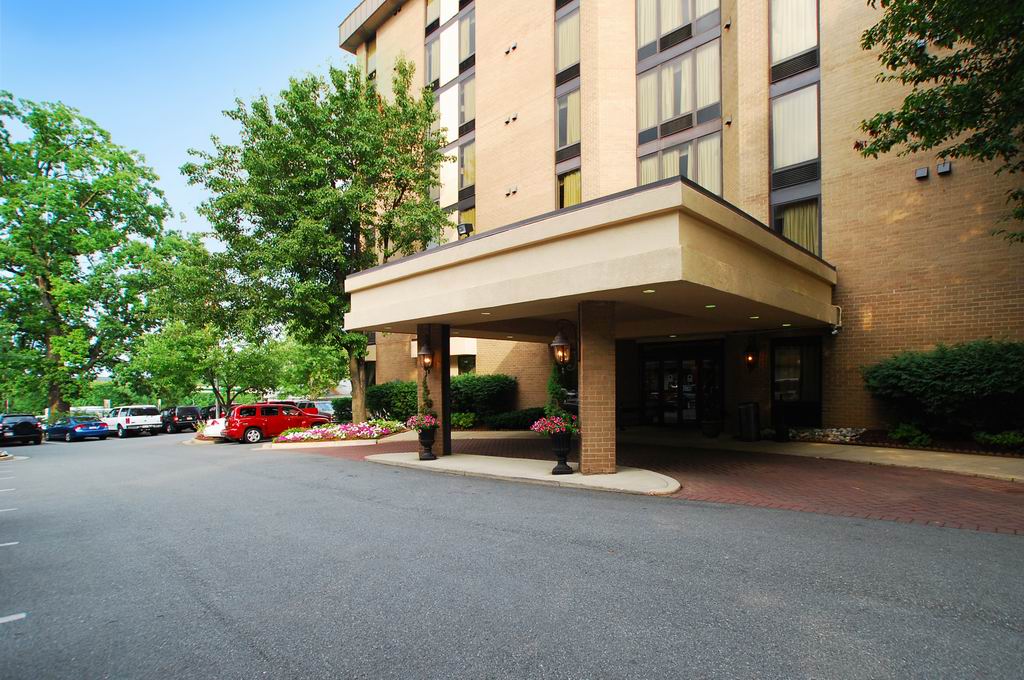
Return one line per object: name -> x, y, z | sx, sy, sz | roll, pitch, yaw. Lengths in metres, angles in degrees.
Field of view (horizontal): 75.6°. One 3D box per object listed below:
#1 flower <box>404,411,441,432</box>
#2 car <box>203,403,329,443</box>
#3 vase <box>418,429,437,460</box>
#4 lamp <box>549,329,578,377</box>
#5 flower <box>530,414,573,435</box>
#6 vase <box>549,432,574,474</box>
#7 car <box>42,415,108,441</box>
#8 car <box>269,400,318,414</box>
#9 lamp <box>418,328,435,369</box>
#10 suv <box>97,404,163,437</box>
flower -> -2.828, 2.550, 20.980 | 0.952, 0.608, 0.907 | 2, -5, -9
car -> -11.590, 3.749, 30.540 | 5.005, 1.680, 1.748 | -2, 2, -9
vase -> -2.659, 3.177, 20.820 | 0.513, 1.027, 0.892 | -2, 2, -4
lamp -> 1.561, 0.396, 19.502 | 0.680, 1.382, 1.724 | -2, 2, 5
flower -> 1.179, 2.321, 18.315 | 1.073, 0.504, 0.760 | -2, 1, 7
vase -> 1.369, 3.163, 18.266 | 0.976, 1.274, 0.965 | 0, -16, 1
car -> -24.396, 4.945, 36.999 | 3.480, 0.969, 1.747 | -1, 2, 35
car -> -11.482, 3.457, 34.804 | 2.389, 1.061, 1.201 | -5, -4, 9
lamp -> -2.815, 0.257, 21.312 | 0.357, 1.402, 0.592 | -4, 3, -39
suv -> -22.227, 4.735, 38.817 | 2.904, 1.240, 2.466 | -3, 1, -30
